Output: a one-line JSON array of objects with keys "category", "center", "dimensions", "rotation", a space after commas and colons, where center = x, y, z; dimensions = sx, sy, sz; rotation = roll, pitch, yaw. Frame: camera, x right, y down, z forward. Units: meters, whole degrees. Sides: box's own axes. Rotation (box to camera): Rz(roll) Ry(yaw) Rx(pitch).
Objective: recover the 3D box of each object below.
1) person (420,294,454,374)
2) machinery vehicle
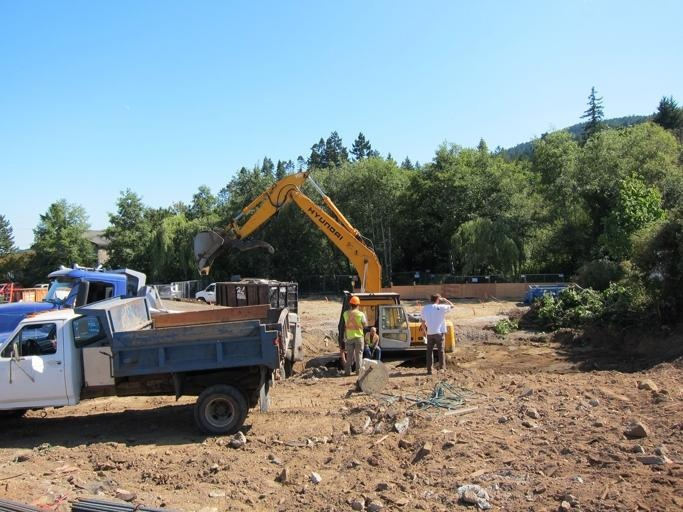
[{"category": "person", "center": [2.419, 1.956, 14.495], "dimensions": [0.749, 2.002, 0.979], "rotation": [-1, 3, 10]}, {"category": "machinery vehicle", "center": [-0.633, 0.409, 19.615], "dimensions": [8.324, 6.441, 3.152], "rotation": [-1, 4, -11]}]
